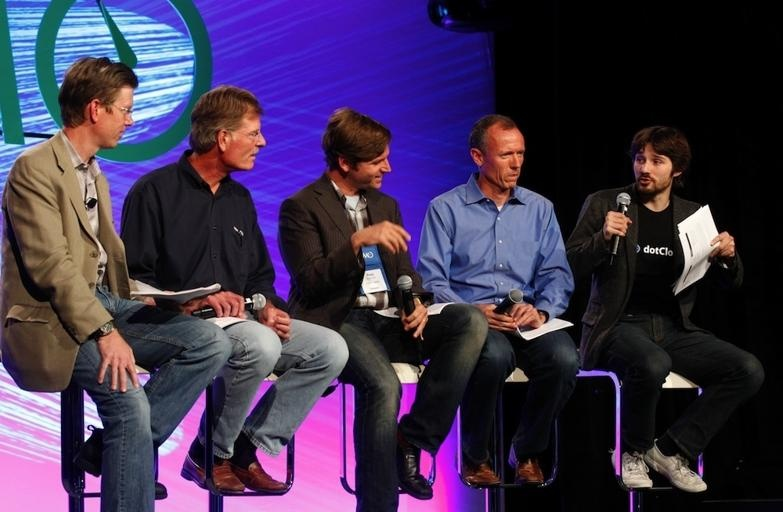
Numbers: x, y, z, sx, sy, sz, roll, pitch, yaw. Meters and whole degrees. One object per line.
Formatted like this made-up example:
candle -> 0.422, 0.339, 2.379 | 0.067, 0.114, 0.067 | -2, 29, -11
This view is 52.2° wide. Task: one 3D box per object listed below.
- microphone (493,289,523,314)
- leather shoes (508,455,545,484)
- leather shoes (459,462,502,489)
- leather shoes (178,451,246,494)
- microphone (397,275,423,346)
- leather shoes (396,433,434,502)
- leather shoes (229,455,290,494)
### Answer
microphone -> 0.552, 0.231, 3.835 | 0.064, 0.067, 0.228 | 40, -25, 4
leather shoes -> 0.664, 1.055, 3.953 | 0.151, 0.130, 0.111 | -10, -10, 4
leather shoes -> 0.431, 1.046, 3.804 | 0.153, 0.114, 0.052 | -3, -31, -10
leather shoes -> -0.829, 0.994, 3.688 | 0.308, 0.127, 0.130 | 8, 4, 31
microphone -> 0.086, 0.242, 3.860 | 0.122, 0.320, 0.239 | 2, 6, 1
leather shoes -> 0.103, 0.989, 3.762 | 0.134, 0.211, 0.352 | 0, 12, -18
leather shoes -> -0.633, 1.008, 3.693 | 0.332, 0.123, 0.117 | 8, -1, 26
